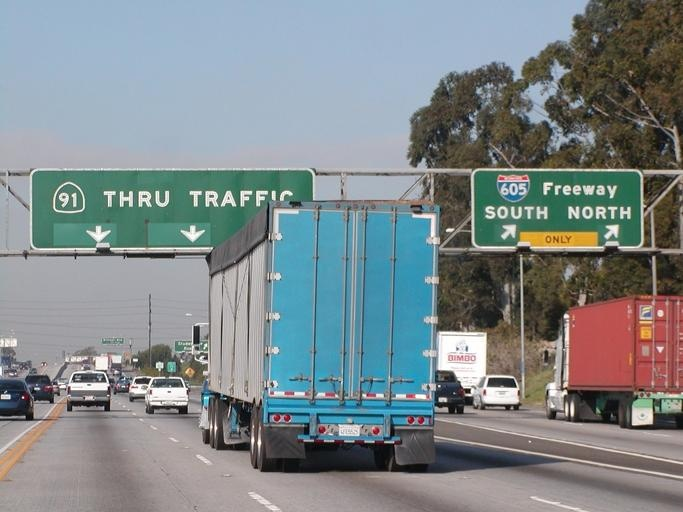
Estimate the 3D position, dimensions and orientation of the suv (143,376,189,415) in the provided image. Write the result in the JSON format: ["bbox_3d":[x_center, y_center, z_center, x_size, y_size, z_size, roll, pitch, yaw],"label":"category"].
[{"bbox_3d":[-8.621,6.952,61.315,2.036,1.946,2.077,0,-9,-3],"label":"suv"}]

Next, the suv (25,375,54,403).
[{"bbox_3d":[-19.693,9.037,81.368,1.713,1.722,4.395,1,1,-7],"label":"suv"}]

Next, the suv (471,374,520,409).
[{"bbox_3d":[8.177,7.302,65.783,1.805,1.839,3.053,2,-10,-19],"label":"suv"}]

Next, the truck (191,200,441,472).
[{"bbox_3d":[-0.578,1.985,33.740,4.023,6.229,12.830,0,-4,-17],"label":"truck"}]
